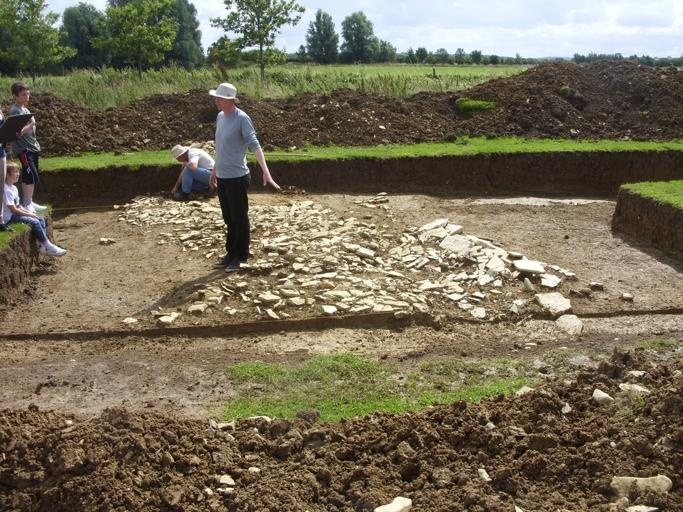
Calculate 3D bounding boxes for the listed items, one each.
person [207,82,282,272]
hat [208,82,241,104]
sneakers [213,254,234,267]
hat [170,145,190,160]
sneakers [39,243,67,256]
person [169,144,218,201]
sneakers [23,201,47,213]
[{"bbox_3d":[-1.467,-1.059,11.928,0.775,2.603,0.356,-1,17,0],"label":"person"},{"bbox_3d":[-1.590,-2.198,11.570,0.593,0.183,0.444,10,15,-11],"label":"hat"},{"bbox_3d":[-1.661,0.100,12.342,0.376,0.127,0.115,1,7,12],"label":"sneakers"},{"bbox_3d":[-2.756,-1.744,14.581,0.263,0.245,0.361,-3,15,-7],"label":"hat"},{"bbox_3d":[-4.299,-0.101,12.718,0.446,0.154,0.140,5,26,-3],"label":"sneakers"},{"bbox_3d":[-2.534,-1.422,14.978,0.872,0.782,0.636,0,-7,-14],"label":"person"},{"bbox_3d":[-4.674,-0.718,13.006,0.359,0.125,0.108,-2,20,-22],"label":"sneakers"}]
